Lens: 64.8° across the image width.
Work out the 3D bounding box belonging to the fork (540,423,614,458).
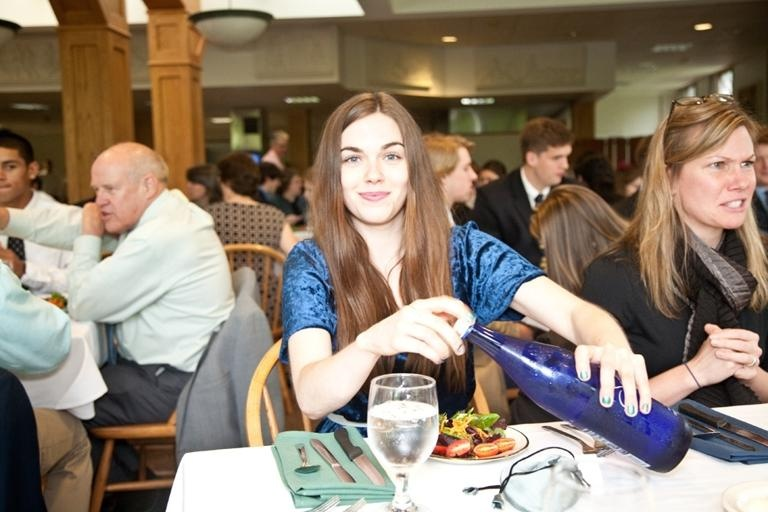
[{"bbox_3d":[0.437,0.402,1.410,0.184,0.043,0.057,14,12,39],"label":"fork"}]

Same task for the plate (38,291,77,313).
[{"bbox_3d":[-1.236,0.177,2.296,0.098,0.056,0.106,4,-1,13],"label":"plate"}]

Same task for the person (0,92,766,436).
[{"bbox_3d":[0.098,0.033,1.699,0.828,0.710,1.303,-7,-2,-28],"label":"person"}]

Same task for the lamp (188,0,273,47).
[{"bbox_3d":[-1.076,-1.605,4.153,0.455,0.136,0.441,1,4,9],"label":"lamp"}]
